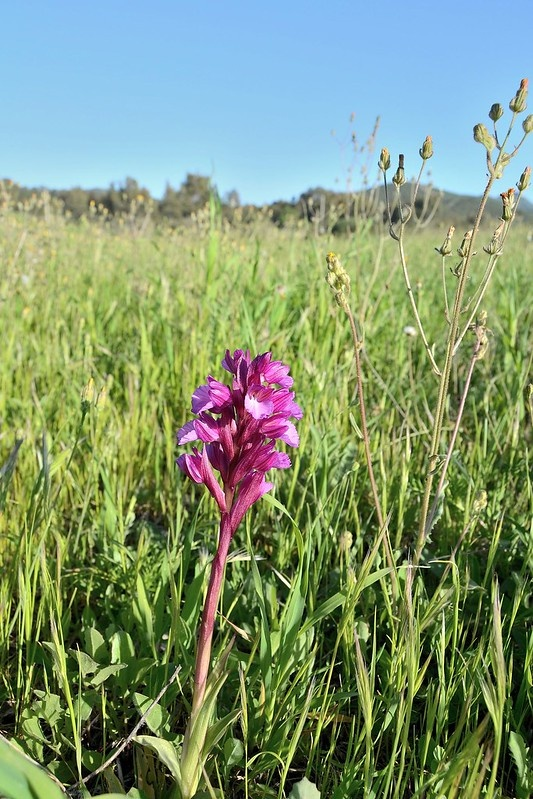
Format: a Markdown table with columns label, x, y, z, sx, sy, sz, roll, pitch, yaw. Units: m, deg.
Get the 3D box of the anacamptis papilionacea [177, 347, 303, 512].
| label | x | y | z | sx | sy | sz | roll | pitch | yaw |
| --- | --- | --- | --- | --- | --- | --- | --- | --- | --- |
| anacamptis papilionacea | -0.042 | 0.042 | 0.841 | 0.189 | 0.259 | 0.126 | 10 | 11 | 14 |
